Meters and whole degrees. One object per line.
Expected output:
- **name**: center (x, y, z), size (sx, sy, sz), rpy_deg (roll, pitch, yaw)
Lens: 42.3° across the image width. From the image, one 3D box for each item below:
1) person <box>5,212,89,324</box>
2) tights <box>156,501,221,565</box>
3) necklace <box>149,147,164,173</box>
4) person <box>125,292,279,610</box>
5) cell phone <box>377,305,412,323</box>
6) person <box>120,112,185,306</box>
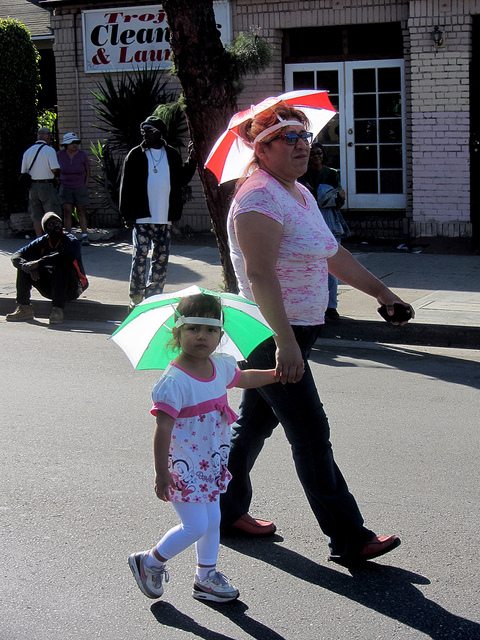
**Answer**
- **person**: center (-2.450, -0.654, 7.847), size (0.891, 1.359, 0.474), rpy_deg (1, 9, 19)
- **tights**: center (-0.168, 0.706, 2.059), size (0.210, 0.275, 0.143), rpy_deg (-3, 8, -14)
- **necklace**: center (-1.018, -1.939, 7.506), size (0.104, 0.329, 0.030), rpy_deg (3, -24, -12)
- **person**: center (-0.134, 0.460, 2.219), size (0.559, 1.145, 0.734), rpy_deg (-3, 8, -10)
- **cell phone**: center (0.646, -0.026, 2.594), size (0.126, 0.057, 0.056), rpy_deg (-2, 20, -6)
- **person**: center (-1.061, -1.340, 7.545), size (0.882, 2.294, 0.427), rpy_deg (-9, 11, -42)
